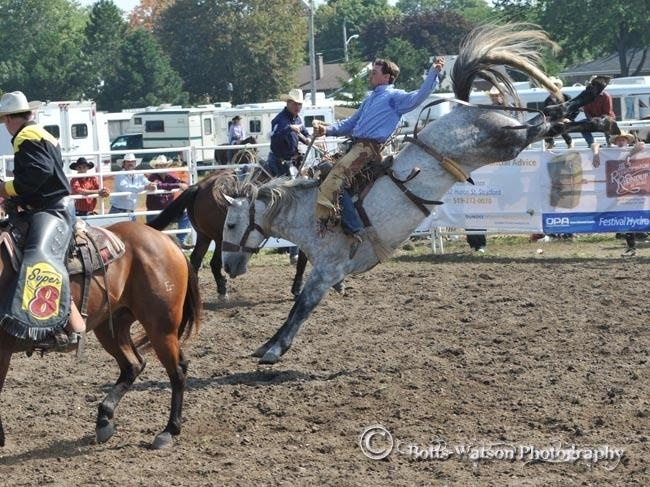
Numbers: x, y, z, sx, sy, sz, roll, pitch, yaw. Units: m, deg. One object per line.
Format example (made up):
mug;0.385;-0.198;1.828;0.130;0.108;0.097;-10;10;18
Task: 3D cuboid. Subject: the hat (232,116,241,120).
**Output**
hat;-2.480;-3.538;27.199;0.343;0.081;0.308;-3;9;-3

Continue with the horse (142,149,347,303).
horse;-0.807;-0.077;12.387;2.952;1.377;0.689;-2;6;33

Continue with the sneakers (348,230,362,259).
sneakers;0.339;0.011;10.577;0.112;0.286;0.131;15;3;41

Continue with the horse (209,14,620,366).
horse;0.966;-0.724;10.983;5.309;2.025;1.154;-35;34;-26
